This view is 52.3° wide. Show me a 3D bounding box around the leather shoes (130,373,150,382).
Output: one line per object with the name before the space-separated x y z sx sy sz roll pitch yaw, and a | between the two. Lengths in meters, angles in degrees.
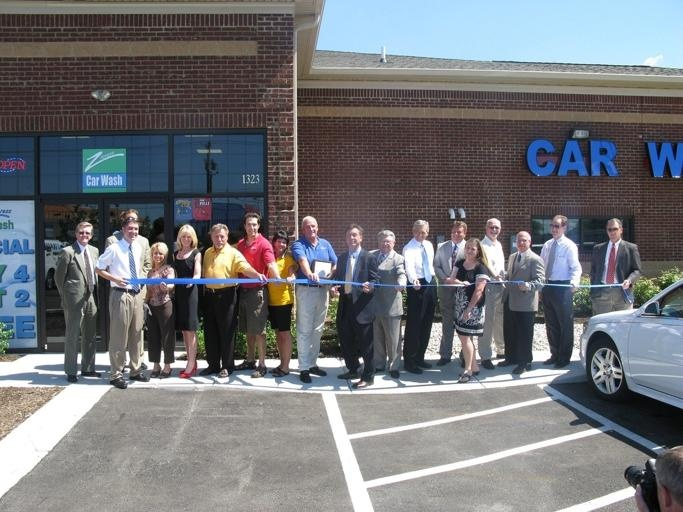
leather shoes | -3.315 1.979 11.365 0.339 0.151 0.134 0 3 -3

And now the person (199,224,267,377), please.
person | -1.960 0.738 11.517 0.851 2.526 0.528 -3 3 -7

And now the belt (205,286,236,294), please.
belt | -2.028 0.548 11.537 0.528 0.115 0.203 -4 3 -15

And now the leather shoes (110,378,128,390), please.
leather shoes | -3.627 2.033 11.117 0.330 0.157 0.125 -1 3 26

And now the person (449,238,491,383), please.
person | 2.129 0.890 11.459 0.678 2.321 0.476 -2 3 15

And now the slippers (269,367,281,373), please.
slippers | -1.145 1.919 11.726 0.193 0.058 0.080 2 -1 -6

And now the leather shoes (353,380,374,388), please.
leather shoes | 0.335 2.053 11.221 0.291 0.128 0.119 3 -3 -16

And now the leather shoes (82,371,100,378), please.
leather shoes | -4.202 1.949 11.601 0.327 0.148 0.119 1 -2 -7

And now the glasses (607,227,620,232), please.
glasses | 4.807 -0.460 12.242 0.210 0.083 0.179 -2 3 22

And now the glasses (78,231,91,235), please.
glasses | -4.269 -0.383 11.483 0.167 0.061 0.055 -5 4 -33

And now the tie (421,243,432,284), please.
tie | 1.452 0.079 12.080 0.075 0.742 0.273 -7 -6 -9

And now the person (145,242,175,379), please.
person | -2.977 0.889 11.464 0.537 2.226 0.390 0 3 38

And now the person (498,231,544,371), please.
person | 3.079 0.772 11.965 0.777 2.378 0.577 -1 3 28

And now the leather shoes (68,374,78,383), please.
leather shoes | -4.448 1.992 11.367 0.158 0.112 0.160 -4 3 -17

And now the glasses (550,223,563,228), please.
glasses | 3.723 -0.533 11.991 0.189 0.118 0.079 -2 3 20

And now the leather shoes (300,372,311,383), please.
leather shoes | -0.617 1.988 11.477 0.178 0.187 0.181 -3 3 -4

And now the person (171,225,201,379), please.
person | -2.571 0.743 11.583 0.486 2.513 0.471 -2 3 6

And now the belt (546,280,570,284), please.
belt | 3.752 0.448 12.016 0.377 0.070 0.133 -2 3 14

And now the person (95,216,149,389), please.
person | -3.536 0.870 11.221 0.759 2.405 0.485 -4 3 -26

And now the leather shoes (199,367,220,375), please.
leather shoes | -2.234 1.927 11.689 0.368 0.167 0.133 3 0 -4

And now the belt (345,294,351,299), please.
belt | 0.101 0.652 11.235 0.070 0.071 0.017 19 8 24

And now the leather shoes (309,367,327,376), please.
leather shoes | -0.427 1.968 11.887 0.300 0.136 0.117 3 4 20

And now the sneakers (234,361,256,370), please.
sneakers | -1.660 1.852 11.942 0.404 0.192 0.145 4 -2 -10

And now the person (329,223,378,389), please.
person | 0.230 0.798 11.403 0.684 2.606 0.588 -3 3 -8
